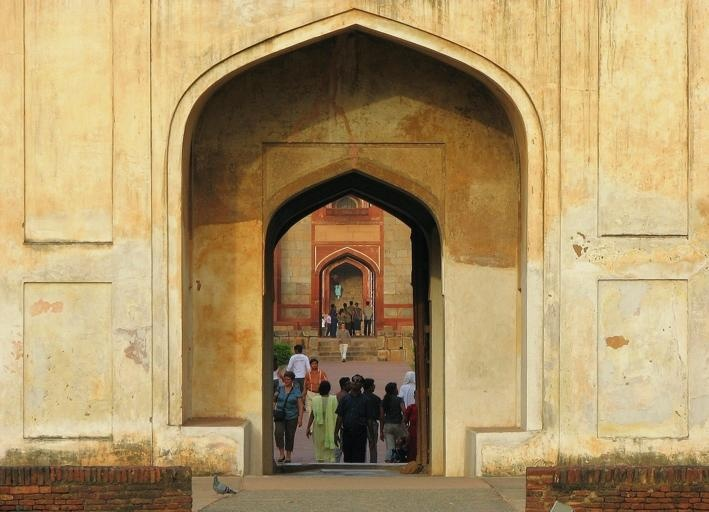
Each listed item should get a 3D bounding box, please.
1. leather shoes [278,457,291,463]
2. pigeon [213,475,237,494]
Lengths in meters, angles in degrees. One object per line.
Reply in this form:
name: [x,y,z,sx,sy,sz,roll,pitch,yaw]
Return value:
leather shoes: [-0.720,2.161,17.056,0.156,0.059,0.051,2,-2,-44]
pigeon: [-1.182,2.075,14.580,0.238,0.179,0.120,9,-9,-4]
